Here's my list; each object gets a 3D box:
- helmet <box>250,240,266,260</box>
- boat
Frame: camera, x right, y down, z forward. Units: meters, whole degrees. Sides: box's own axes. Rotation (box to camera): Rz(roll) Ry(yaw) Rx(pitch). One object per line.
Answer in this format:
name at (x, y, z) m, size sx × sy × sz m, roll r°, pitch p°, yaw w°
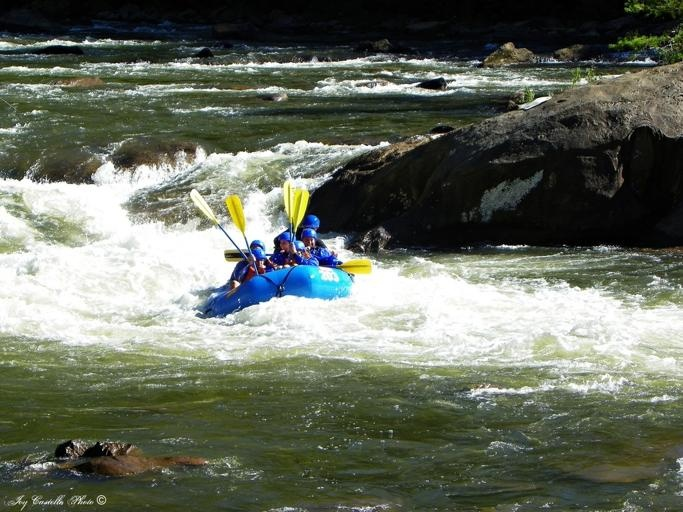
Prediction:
helmet at (-1.104, -0.078, 11.646) m, size 0.285 × 0.238 × 0.276 m, roll -2°, pitch -22°, yaw -5°
boat at (-0.552, 0.347, 10.920) m, size 1.445 × 0.219 × 0.842 m, roll -10°, pitch 8°, yaw -36°
